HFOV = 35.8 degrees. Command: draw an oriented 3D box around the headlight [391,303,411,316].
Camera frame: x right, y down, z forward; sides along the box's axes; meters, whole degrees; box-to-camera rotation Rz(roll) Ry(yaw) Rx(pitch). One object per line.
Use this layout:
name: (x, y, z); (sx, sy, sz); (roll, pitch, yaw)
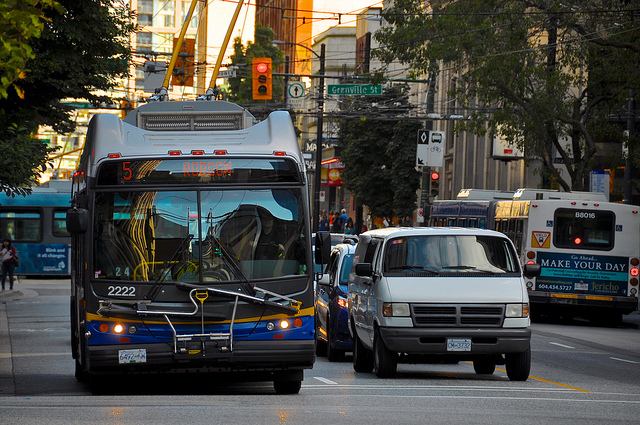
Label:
headlight: (1.456, 1.721, 17.482); (0.257, 0.165, 0.236); (0, -5, -8)

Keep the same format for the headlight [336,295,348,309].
headlight: (0.478, 1.816, 20.229); (0.115, 0.216, 0.532); (1, 1, -17)

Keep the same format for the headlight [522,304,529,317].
headlight: (3.677, 1.744, 17.599); (0.143, 0.217, 0.061); (0, 2, -40)

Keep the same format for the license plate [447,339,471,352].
license plate: (2.460, 2.325, 17.318); (0.406, 0.205, 0.058); (1, 1, 6)

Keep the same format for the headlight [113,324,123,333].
headlight: (-3.160, 1.815, 15.497); (0.130, 0.119, 0.028); (16, -2, 2)

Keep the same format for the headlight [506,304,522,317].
headlight: (3.479, 1.739, 17.549); (0.244, 0.139, 0.233); (-1, 2, 2)
